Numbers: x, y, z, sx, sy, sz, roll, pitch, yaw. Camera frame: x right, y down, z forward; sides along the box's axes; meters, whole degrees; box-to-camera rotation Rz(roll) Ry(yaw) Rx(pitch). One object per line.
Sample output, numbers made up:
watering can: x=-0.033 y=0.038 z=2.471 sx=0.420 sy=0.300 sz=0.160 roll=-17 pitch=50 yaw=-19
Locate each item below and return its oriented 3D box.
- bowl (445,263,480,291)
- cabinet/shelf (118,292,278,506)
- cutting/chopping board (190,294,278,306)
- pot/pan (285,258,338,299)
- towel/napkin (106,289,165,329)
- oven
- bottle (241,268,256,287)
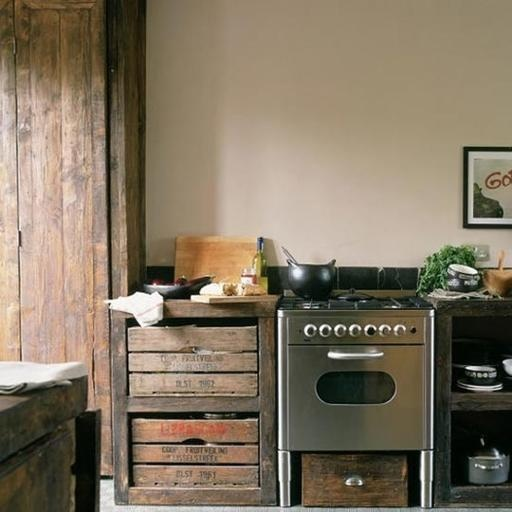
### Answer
bowl: x=1.059 y=0.099 z=3.457 sx=0.131 sy=0.109 sz=0.134 roll=0 pitch=1 yaw=0
cabinet/shelf: x=-0.293 y=0.673 z=3.758 sx=0.961 sy=1.427 sz=0.878 roll=0 pitch=-2 yaw=0
cutting/chopping board: x=-0.108 y=0.211 z=3.383 sx=0.439 sy=0.042 sz=0.225 roll=1 pitch=4 yaw=-7
pot/pan: x=0.301 y=0.127 z=3.672 sx=0.223 sy=0.196 sz=0.201 roll=0 pitch=0 yaw=9
towel/napkin: x=-0.603 y=0.262 z=3.388 sx=0.335 sy=0.172 sz=0.212 roll=2 pitch=4 yaw=13
oven: x=0.495 y=0.683 z=3.439 sx=0.666 sy=0.535 sz=0.484 roll=-1 pitch=-4 yaw=3
bottle: x=-0.039 y=0.109 z=3.590 sx=0.078 sy=0.128 sz=0.076 roll=0 pitch=-5 yaw=0
